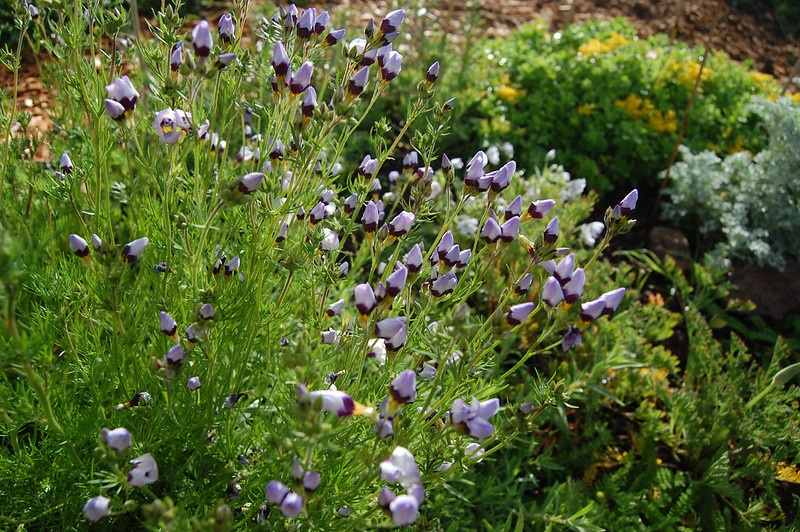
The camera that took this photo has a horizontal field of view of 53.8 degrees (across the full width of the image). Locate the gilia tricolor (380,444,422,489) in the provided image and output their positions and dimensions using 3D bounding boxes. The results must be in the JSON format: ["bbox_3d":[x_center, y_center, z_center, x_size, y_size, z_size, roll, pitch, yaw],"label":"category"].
[{"bbox_3d":[0.016,0.984,3.924,0.198,0.185,0.105,10,7,8],"label":"gilia tricolor"}]

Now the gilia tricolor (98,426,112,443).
[{"bbox_3d":[-1.505,0.854,4.039,0.047,0.083,0.096,9,23,-17],"label":"gilia tricolor"}]

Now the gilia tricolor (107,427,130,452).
[{"bbox_3d":[-1.421,0.868,3.974,0.090,0.124,0.097,7,51,-18],"label":"gilia tricolor"}]

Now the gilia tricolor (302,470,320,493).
[{"bbox_3d":[-0.440,1.058,3.915,0.071,0.109,0.059,-10,22,-33],"label":"gilia tricolor"}]

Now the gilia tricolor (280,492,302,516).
[{"bbox_3d":[-0.538,1.174,3.858,0.080,0.092,0.118,-10,63,-17],"label":"gilia tricolor"}]

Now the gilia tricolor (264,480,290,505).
[{"bbox_3d":[-0.603,1.101,3.884,0.115,0.107,0.098,5,3,3],"label":"gilia tricolor"}]

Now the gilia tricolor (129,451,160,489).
[{"bbox_3d":[-1.319,1.039,4.026,0.139,0.151,0.133,5,50,-19],"label":"gilia tricolor"}]

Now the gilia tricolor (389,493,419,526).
[{"bbox_3d":[0.026,1.174,3.822,0.128,0.129,0.106,5,62,17],"label":"gilia tricolor"}]
